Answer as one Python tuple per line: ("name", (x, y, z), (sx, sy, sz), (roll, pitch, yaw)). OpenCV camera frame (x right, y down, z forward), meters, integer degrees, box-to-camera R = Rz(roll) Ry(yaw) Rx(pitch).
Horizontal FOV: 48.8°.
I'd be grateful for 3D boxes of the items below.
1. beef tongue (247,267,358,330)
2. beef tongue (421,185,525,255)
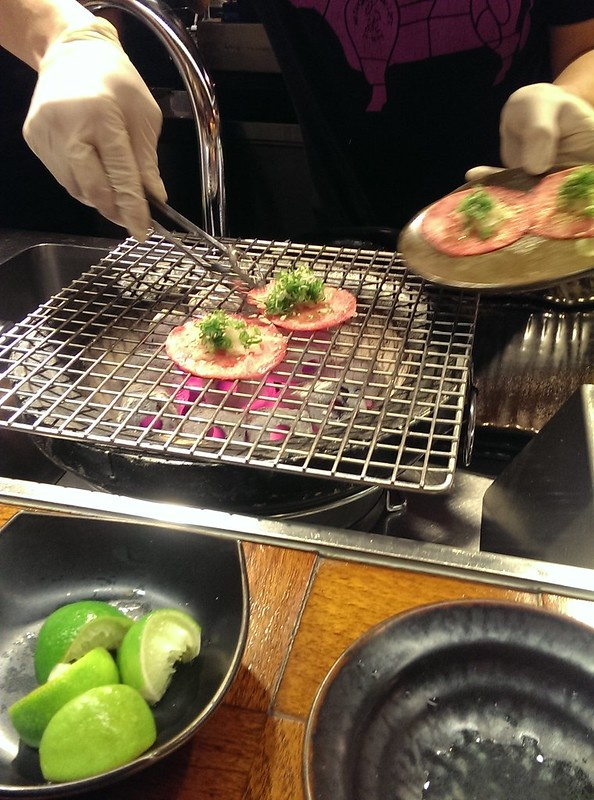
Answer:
("beef tongue", (0.020, -0.211, 1.493), (0.186, 0.067, 0.189), (32, 50, 33))
("beef tongue", (0.412, -0.403, 1.503), (0.213, 0.064, 0.219), (29, 56, 36))
